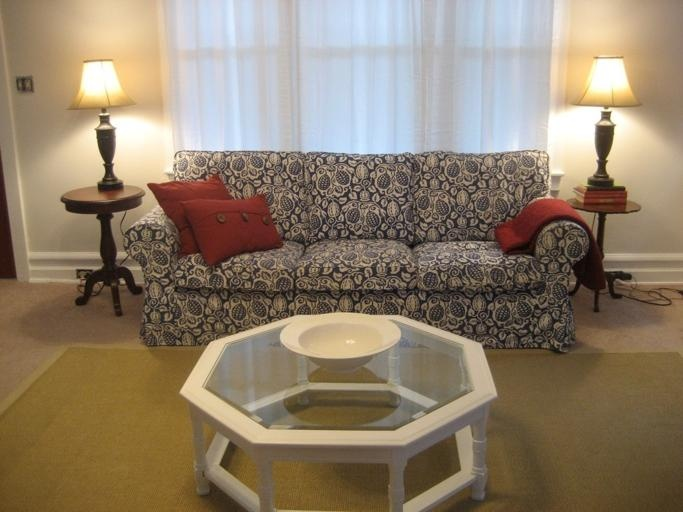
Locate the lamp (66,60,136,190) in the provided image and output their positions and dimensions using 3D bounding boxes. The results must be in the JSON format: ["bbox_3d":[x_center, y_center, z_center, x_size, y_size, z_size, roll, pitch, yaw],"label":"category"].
[{"bbox_3d":[-1.702,-0.953,3.998,0.414,0.890,0.488,-9,20,-20],"label":"lamp"}]

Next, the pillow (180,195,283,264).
[{"bbox_3d":[-0.667,-0.186,3.527,0.243,0.403,0.639,-3,5,39],"label":"pillow"}]

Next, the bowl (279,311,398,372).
[{"bbox_3d":[-0.023,0.404,2.356,0.552,0.134,0.541,-5,6,1],"label":"bowl"}]

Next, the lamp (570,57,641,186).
[{"bbox_3d":[1.833,-0.954,3.900,0.399,0.866,0.474,2,19,12],"label":"lamp"}]
